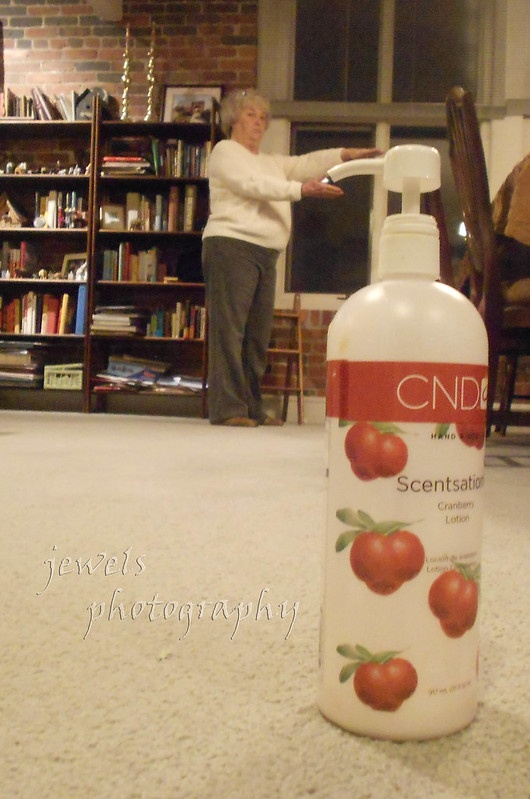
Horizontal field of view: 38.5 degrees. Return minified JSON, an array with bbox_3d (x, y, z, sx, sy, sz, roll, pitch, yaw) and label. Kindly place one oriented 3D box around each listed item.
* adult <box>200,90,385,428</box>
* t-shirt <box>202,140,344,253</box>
[{"bbox_3d":[0.133,-0.526,2.769,0.767,1.207,0.579,1,4,-2],"label":"adult"},{"bbox_3d":[0.065,-0.738,2.779,0.452,0.386,0.438,8,10,44],"label":"t-shirt"}]
